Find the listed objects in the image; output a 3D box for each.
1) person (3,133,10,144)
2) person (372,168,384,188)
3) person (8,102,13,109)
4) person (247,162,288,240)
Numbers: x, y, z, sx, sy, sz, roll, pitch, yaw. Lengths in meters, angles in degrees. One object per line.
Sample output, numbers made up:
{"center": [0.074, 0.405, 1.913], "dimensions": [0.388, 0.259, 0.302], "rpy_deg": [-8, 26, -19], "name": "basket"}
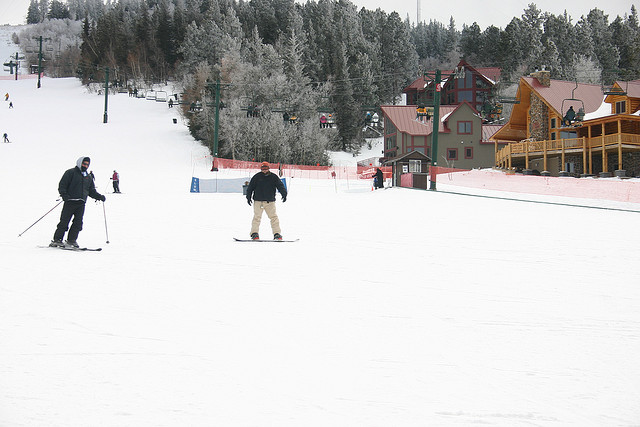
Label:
{"center": [-23.680, -5.690, 55.316], "dimensions": [0.401, 0.752, 2.217], "rpy_deg": [-1, 6, -24], "name": "person"}
{"center": [3.494, -2.045, 42.492], "dimensions": [0.361, 1.113, 1.206], "rpy_deg": [2, 5, 12], "name": "person"}
{"center": [-30.542, -10.715, 72.440], "dimensions": [0.286, 0.515, 0.917], "rpy_deg": [-1, 5, -23], "name": "person"}
{"center": [-1.747, -0.397, 23.704], "dimensions": [1.189, 2.490, 0.931], "rpy_deg": [1, 4, -6], "name": "person"}
